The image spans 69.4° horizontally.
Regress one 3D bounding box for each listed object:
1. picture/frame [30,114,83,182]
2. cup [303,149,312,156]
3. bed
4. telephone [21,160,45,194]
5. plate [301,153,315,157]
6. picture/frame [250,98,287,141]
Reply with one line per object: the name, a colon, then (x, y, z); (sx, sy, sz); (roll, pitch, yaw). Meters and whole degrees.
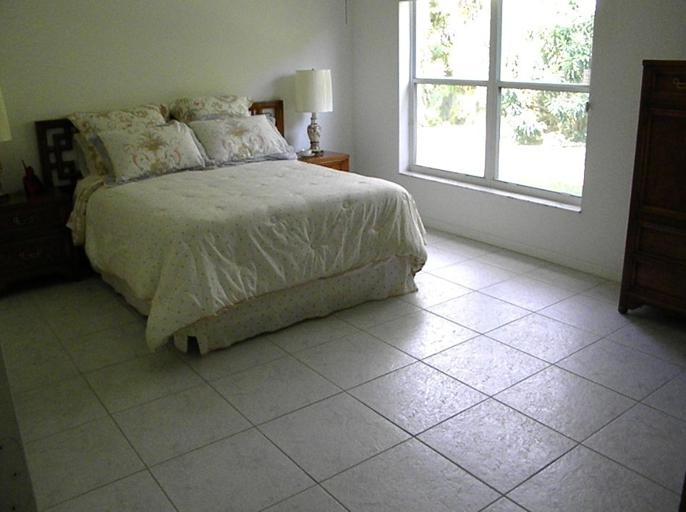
picture/frame: (-2.489, -0.951, 4.279); (0.063, 0.638, 0.452); (19, 29, 40)
cup: (-0.369, -1.083, 5.157); (0.083, 0.054, 0.081); (-1, 21, 0)
bed: (-0.892, -0.383, 3.843); (2.433, 1.462, 2.129); (16, 29, 41)
telephone: (-2.577, -0.647, 4.110); (0.122, 0.301, 0.124); (-13, 40, -35)
plate: (-0.376, -1.049, 5.116); (0.089, 0.030, 0.086); (8, 21, 32)
picture/frame: (-0.756, -1.372, 4.928); (0.037, 0.478, 0.532); (22, 35, 40)
